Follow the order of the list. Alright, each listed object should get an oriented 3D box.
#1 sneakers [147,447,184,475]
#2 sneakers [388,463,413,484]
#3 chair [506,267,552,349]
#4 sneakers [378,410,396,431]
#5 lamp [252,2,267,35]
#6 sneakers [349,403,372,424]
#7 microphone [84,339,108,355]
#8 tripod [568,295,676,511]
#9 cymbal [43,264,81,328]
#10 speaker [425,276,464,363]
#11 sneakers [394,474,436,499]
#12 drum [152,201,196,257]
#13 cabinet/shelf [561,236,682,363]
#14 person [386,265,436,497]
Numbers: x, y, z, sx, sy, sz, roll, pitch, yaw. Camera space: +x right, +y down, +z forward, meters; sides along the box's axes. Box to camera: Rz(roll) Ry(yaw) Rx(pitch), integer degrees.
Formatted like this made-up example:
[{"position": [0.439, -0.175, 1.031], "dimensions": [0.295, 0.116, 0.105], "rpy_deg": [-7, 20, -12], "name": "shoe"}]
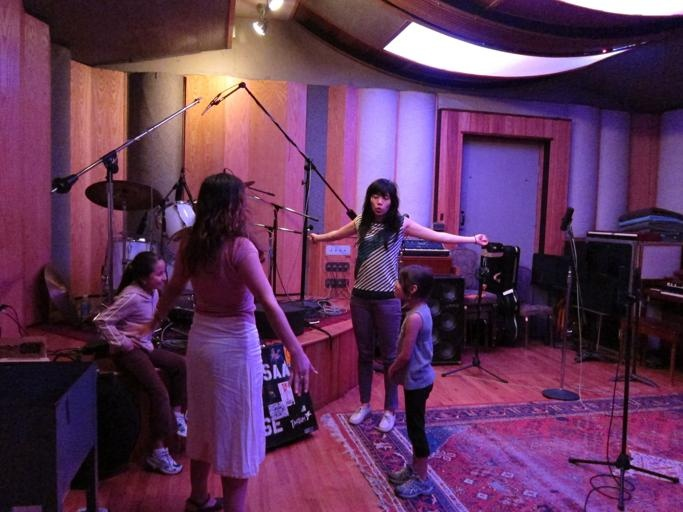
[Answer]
[{"position": [-1.131, 1.332, 3.458], "dimensions": [0.265, 0.156, 0.116], "rpy_deg": [8, 4, 14], "name": "sneakers"}, {"position": [0.377, 1.396, 3.385], "dimensions": [0.179, 0.087, 0.076], "rpy_deg": [3, -2, -4], "name": "sneakers"}, {"position": [2.261, 0.638, 6.382], "dimensions": [0.477, 0.905, 0.433], "rpy_deg": [-4, 1, 14], "name": "chair"}, {"position": [0.343, 1.262, 4.015], "dimensions": [0.065, 0.079, 0.189], "rpy_deg": [1, -1, 16], "name": "sneakers"}, {"position": [-0.891, -2.569, 5.814], "dimensions": [0.165, 0.310, 0.485], "rpy_deg": [0, 12, -10], "name": "lamp"}, {"position": [0.146, 1.240, 4.137], "dimensions": [0.077, 0.085, 0.202], "rpy_deg": [2, 6, 32], "name": "sneakers"}, {"position": [-1.631, 0.614, 3.549], "dimensions": [0.156, 0.065, 0.095], "rpy_deg": [1, 5, -11], "name": "microphone"}, {"position": [2.355, 1.215, 4.409], "dimensions": [0.868, 1.799, 0.901], "rpy_deg": [7, 13, 36], "name": "tripod"}, {"position": [-2.559, 0.358, 4.846], "dimensions": [0.244, 0.507, 0.374], "rpy_deg": [-6, 14, -34], "name": "cymbal"}, {"position": [1.177, 0.692, 5.550], "dimensions": [0.493, 0.884, 0.496], "rpy_deg": [9, -9, -41], "name": "speaker"}, {"position": [0.458, 1.439, 3.320], "dimensions": [0.198, 0.103, 0.107], "rpy_deg": [0, 5, -12], "name": "sneakers"}, {"position": [-1.580, -0.353, 5.290], "dimensions": [0.326, 0.351, 0.324], "rpy_deg": [7, 9, 10], "name": "drum"}, {"position": [2.929, 0.432, 5.480], "dimensions": [0.684, 1.274, 1.223], "rpy_deg": [-1, 3, -23], "name": "cabinet/shelf"}, {"position": [0.445, 0.774, 3.295], "dimensions": [0.298, 1.393, 0.378], "rpy_deg": [3, 11, 6], "name": "person"}]
